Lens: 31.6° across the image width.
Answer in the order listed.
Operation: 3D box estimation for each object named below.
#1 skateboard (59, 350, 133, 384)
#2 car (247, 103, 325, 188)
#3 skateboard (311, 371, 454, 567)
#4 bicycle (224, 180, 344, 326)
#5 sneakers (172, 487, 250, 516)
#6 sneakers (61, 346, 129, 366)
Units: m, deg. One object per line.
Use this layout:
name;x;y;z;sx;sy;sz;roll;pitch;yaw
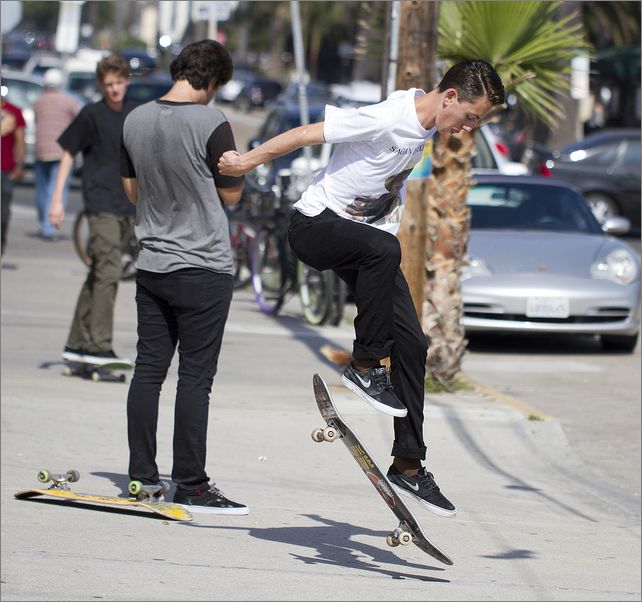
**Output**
skateboard;-1.530;0.454;7.717;0.570;0.201;0.205;-1;-5;28
car;-0.300;-2.096;15.130;1.536;1.143;2.403;0;4;-6
skateboard;0.309;0.896;5.741;0.184;0.988;0.214;-35;-6;-15
bicycle;-0.342;-0.363;10.988;0.923;0.907;1.605;1;17;-28
sneakers;-0.530;0.992;5.539;0.434;0.152;0.126;4;-9;-4
sneakers;-1.513;0.382;7.682;0.475;0.142;0.156;6;-1;-9
